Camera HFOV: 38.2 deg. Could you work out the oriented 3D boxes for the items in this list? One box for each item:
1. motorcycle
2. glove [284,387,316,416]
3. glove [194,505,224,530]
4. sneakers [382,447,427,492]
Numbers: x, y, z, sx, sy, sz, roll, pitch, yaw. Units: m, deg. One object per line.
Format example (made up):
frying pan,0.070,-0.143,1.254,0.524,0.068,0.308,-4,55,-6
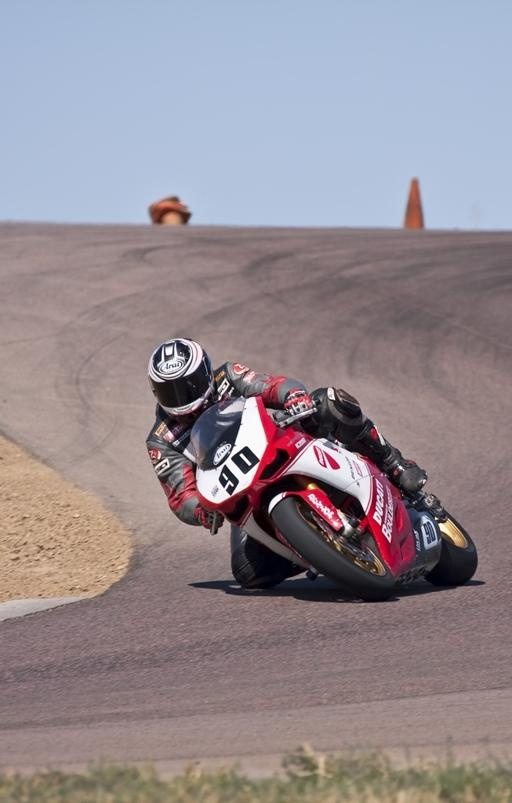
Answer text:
motorcycle,0.548,0.652,4.377,1.300,0.637,2.447,43,11,26
glove,0.232,0.008,3.973,0.126,0.143,0.152,-4,-31,2
glove,-0.250,0.640,4.017,0.131,0.068,0.175,22,-10,40
sneakers,0.901,0.436,4.532,0.317,0.186,0.136,44,0,12
